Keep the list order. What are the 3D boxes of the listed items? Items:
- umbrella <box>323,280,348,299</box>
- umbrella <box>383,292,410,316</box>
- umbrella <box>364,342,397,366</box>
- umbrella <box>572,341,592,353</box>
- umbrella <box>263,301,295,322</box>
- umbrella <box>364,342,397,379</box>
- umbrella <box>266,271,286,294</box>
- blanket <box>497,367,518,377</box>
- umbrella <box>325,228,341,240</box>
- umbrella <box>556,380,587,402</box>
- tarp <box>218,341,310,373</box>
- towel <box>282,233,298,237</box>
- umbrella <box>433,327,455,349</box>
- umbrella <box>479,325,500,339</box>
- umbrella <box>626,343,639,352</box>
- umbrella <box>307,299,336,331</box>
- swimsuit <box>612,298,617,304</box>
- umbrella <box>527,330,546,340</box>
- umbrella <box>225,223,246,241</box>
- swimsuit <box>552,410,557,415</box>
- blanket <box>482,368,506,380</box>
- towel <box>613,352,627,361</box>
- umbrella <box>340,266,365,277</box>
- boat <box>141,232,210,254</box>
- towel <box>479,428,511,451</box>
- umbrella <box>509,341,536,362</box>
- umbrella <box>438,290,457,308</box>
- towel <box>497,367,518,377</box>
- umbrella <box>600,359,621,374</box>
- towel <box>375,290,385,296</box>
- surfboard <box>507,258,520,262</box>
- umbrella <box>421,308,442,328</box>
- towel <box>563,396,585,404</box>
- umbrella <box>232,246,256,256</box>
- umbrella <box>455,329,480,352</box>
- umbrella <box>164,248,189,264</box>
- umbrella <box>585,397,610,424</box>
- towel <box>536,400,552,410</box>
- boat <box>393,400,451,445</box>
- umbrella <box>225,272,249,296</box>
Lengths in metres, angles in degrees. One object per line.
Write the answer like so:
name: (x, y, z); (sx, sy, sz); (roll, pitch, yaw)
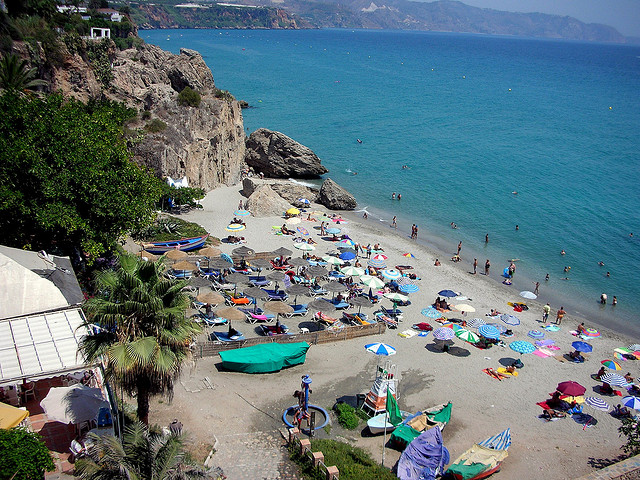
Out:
umbrella: (1.066, 3.996, 38.061); (1.814, 0.917, 1.145); (4, 24, -12)
umbrella: (6.126, 5.141, 39.517); (1.536, 1.562, 1.630); (5, 24, -9)
umbrella: (3.737, 7.220, 30.528); (1.719, 1.012, 0.940); (19, 26, 21)
umbrella: (20.085, 8.381, 36.971); (1.257, 0.485, 1.181); (-16, 37, -32)
umbrella: (-3.113, 5.220, 34.255); (1.749, 1.482, 1.712); (-1, 26, -22)
umbrella: (3.911, 7.293, 30.581); (1.207, 1.164, 1.216); (10, 11, 35)
umbrella: (-3.474, 3.352, 38.559); (1.532, 1.432, 1.502); (12, 24, 27)
blanket: (13.133, 9.364, 33.723); (0.961, 0.182, 0.575); (8, 30, 15)
umbrella: (1.333, -0.866, 53.536); (1.053, 1.110, 1.807); (-12, 31, -39)
umbrella: (16.004, 9.784, 30.485); (1.260, 0.771, 1.173); (-6, 22, -9)
tarp: (-3.507, 7.403, 30.257); (5.602, 1.042, 2.580); (-4, 11, -21)
towel: (-3.489, -0.517, 53.572); (1.675, 0.034, 0.726); (-5, 26, -30)
umbrella: (8.804, 6.685, 34.081); (1.078, 0.988, 0.991); (-14, 36, -22)
umbrella: (12.606, 6.987, 35.911); (1.380, 0.661, 1.459); (12, 23, 7)
umbrella: (25.728, 8.896, 39.320); (0.817, 0.319, 0.932); (-4, 0, 10)
umbrella: (-0.111, 5.614, 34.770); (1.517, 2.477, 1.644); (-7, 29, -32)
swimsuit: (31.004, 6.559, 50.196); (0.484, 0.623, 0.384); (3, 30, 11)
umbrella: (17.552, 7.899, 39.151); (1.080, 0.723, 0.937); (26, 29, 35)
umbrella: (-9.021, -1.130, 50.258); (1.691, 2.167, 3.885); (5, 23, -10)
swimsuit: (14.738, 10.956, 30.148); (0.052, 0.190, 0.207); (7, 13, -12)
blanket: (11.937, 9.405, 33.292); (0.455, 0.070, 1.356); (-31, 38, -32)
towel: (23.785, 9.370, 38.041); (0.553, 0.124, 0.640); (-4, 29, -3)
umbrella: (2.650, 2.737, 40.587); (1.917, 0.553, 1.123); (12, 23, 7)
boat: (-13.641, 0.361, 45.004); (5.461, 1.455, 1.640); (-11, 48, -32)
towel: (9.787, 11.082, 26.216); (1.841, 0.356, 0.983); (-22, 29, -39)
umbrella: (14.407, 7.906, 34.295); (1.236, 0.919, 1.414); (-5, 27, -29)
umbrella: (10.950, 4.797, 41.423); (1.435, 0.919, 1.262); (9, 23, 0)
towel: (13.175, 9.312, 33.698); (1.076, 0.201, 0.581); (16, 11, 17)
umbrella: (21.553, 9.443, 35.177); (1.091, 0.821, 0.995); (-6, 25, -17)
towel: (5.317, 4.760, 43.189); (0.710, 0.302, 0.571); (16, 24, 16)
surfboard: (23.484, 2.491, 58.063); (1.579, 0.442, 0.720); (-1, -2, 16)
umbrella: (8.661, 5.857, 37.280); (1.164, 0.684, 1.140); (23, 27, 29)
towel: (17.029, 10.659, 31.742); (1.222, 0.023, 0.493); (-1, 49, -14)
umbrella: (-6.786, 1.145, 41.463); (1.568, 0.805, 1.402); (-4, 26, -29)
umbrella: (10.182, 6.812, 33.578); (1.112, 0.695, 1.427); (0, 24, -19)
umbrella: (-12.432, 1.395, 40.541); (1.150, 0.793, 1.031); (5, 35, -10)
umbrella: (17.370, 10.606, 29.907); (1.104, 0.981, 1.018); (6, 3, -26)
towel: (14.475, 10.746, 30.905); (0.761, 0.145, 0.756); (-6, 26, -32)
boat: (5.730, 10.522, 26.835); (1.463, 0.823, 4.148); (26, 29, 33)
umbrella: (-6.685, 3.537, 37.479); (1.388, 1.391, 1.360); (-1, 28, -16)
